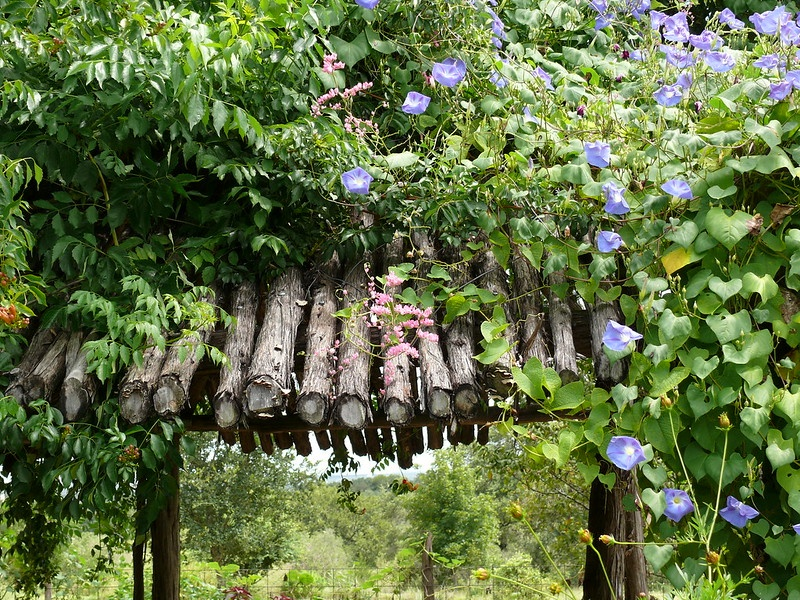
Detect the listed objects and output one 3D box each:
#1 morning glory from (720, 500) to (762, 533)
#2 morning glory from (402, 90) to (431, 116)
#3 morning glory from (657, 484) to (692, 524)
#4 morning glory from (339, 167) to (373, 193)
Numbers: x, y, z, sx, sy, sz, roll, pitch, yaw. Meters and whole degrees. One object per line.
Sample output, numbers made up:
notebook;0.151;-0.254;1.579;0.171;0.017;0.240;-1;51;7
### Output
morning glory;1.537;0.974;3.809;0.146;0.163;0.076;25;10;-11
morning glory;0.075;-1.018;4.349;0.130;0.127;0.097;18;46;9
morning glory;1.253;0.932;3.807;0.151;0.175;0.102;16;45;7
morning glory;-0.230;-0.584;4.291;0.140;0.169;0.124;0;46;-9
